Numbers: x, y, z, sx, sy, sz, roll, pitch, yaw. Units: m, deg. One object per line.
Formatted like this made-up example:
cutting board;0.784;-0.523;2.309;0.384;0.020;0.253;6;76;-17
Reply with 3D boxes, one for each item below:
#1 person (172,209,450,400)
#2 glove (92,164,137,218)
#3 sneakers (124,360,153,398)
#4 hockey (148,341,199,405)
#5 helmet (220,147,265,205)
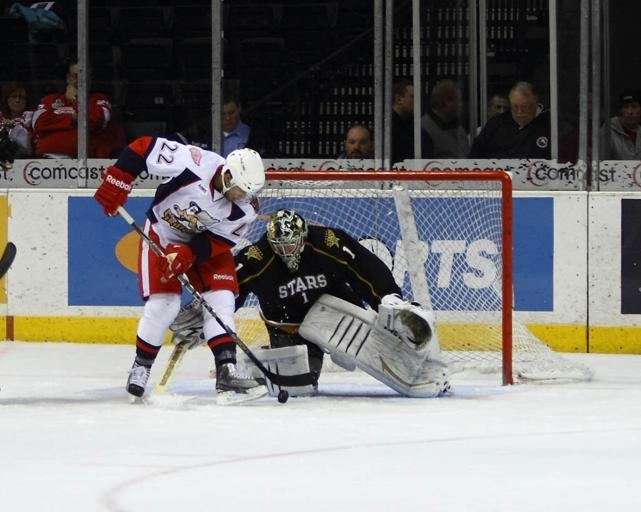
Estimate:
person;-0.042;0.277;5.691;1.456;0.941;0.808;-2;21;23
glove;-1.052;-0.339;5.417;0.199;0.251;0.119;32;2;-9
sneakers;-0.927;0.625;5.401;0.088;0.107;0.256;30;11;-18
hockey;-0.775;0.617;5.476;0.112;0.454;0.114;31;-11;9
helmet;-0.408;-0.418;5.314;0.199;0.235;0.242;-14;-17;-32
